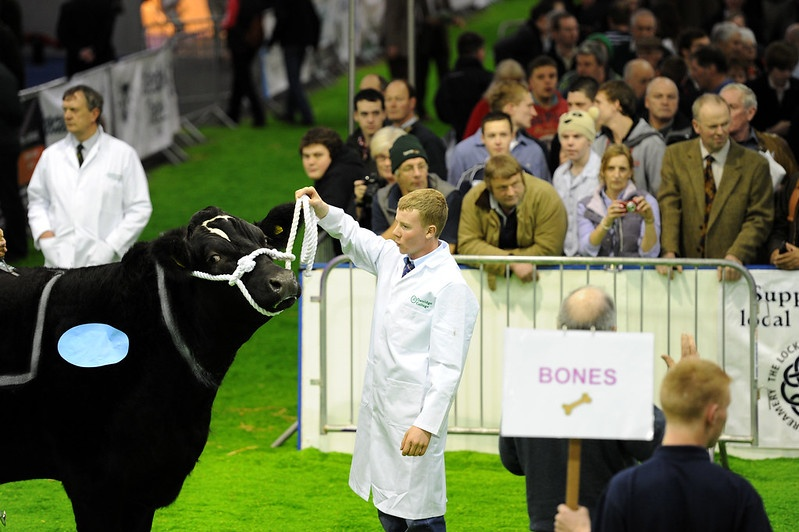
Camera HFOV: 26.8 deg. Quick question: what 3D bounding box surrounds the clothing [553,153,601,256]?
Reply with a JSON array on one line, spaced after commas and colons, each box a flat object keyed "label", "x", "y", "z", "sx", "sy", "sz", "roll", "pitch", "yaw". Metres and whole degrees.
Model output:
[{"label": "clothing", "x": 1.874, "y": -0.674, "z": 18.179, "sx": 0.589, "sy": 1.042, "sz": 0.253, "roll": 2, "pitch": -14, "yaw": 29}]

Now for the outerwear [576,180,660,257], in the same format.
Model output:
[{"label": "outerwear", "x": 2.310, "y": -0.304, "z": 17.843, "sx": 0.871, "sy": 1.082, "sz": 0.661, "roll": -3, "pitch": 11, "yaw": 16}]

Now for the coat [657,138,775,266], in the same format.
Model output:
[{"label": "coat", "x": 3.307, "y": -0.568, "z": 17.794, "sx": 1.116, "sy": 1.477, "sz": 0.804, "roll": 9, "pitch": 36, "yaw": 18}]

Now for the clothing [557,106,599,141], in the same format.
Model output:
[{"label": "clothing", "x": 1.893, "y": -1.626, "z": 18.309, "sx": 0.277, "sy": 0.314, "sz": 0.427, "roll": 1, "pitch": 8, "yaw": 45}]

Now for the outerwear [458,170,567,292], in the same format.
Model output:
[{"label": "outerwear", "x": 1.161, "y": -0.305, "z": 17.620, "sx": 1.038, "sy": 1.246, "sz": 0.733, "roll": 4, "pitch": 17, "yaw": 13}]

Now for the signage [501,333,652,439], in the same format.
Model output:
[{"label": "signage", "x": 1.578, "y": 1.078, "z": 14.664, "sx": 0.890, "sy": 0.640, "sz": 0.124, "roll": 2, "pitch": -6, "yaw": 4}]
